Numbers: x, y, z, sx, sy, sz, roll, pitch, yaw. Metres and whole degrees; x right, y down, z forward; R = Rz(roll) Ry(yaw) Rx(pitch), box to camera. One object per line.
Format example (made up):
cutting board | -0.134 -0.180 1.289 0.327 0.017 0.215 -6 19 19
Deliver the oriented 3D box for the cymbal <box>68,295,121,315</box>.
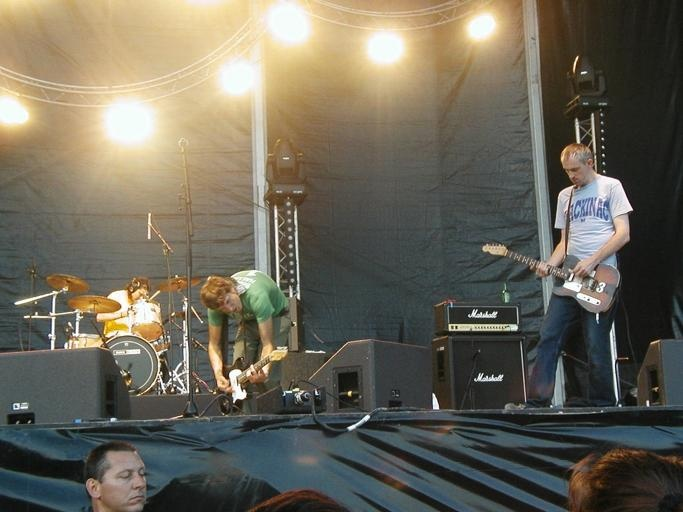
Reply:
cymbal | -2.427 0.491 10.642 0.294 0.065 0.277 10 -33 -18

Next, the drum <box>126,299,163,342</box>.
drum | -1.947 0.650 10.892 0.314 0.442 0.440 -10 -8 29

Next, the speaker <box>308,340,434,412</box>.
speaker | 0.266 0.930 8.309 0.717 0.484 0.681 6 -8 -43

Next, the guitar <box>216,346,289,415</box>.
guitar | -0.696 1.002 8.587 0.595 0.490 0.321 -6 -7 2

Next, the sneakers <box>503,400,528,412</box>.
sneakers | 1.337 1.172 8.394 0.237 0.069 0.146 1 -5 -15

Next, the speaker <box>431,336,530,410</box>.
speaker | 1.121 0.976 8.773 0.622 0.512 0.259 1 -10 -14

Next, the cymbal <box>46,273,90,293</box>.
cymbal | -2.723 0.279 10.748 0.390 0.158 0.361 -3 -8 -16

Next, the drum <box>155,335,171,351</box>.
drum | -1.820 0.904 11.007 0.160 0.102 0.153 0 -8 0

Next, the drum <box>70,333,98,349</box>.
drum | -2.381 0.800 9.966 0.192 0.116 0.128 1 -1 -30
